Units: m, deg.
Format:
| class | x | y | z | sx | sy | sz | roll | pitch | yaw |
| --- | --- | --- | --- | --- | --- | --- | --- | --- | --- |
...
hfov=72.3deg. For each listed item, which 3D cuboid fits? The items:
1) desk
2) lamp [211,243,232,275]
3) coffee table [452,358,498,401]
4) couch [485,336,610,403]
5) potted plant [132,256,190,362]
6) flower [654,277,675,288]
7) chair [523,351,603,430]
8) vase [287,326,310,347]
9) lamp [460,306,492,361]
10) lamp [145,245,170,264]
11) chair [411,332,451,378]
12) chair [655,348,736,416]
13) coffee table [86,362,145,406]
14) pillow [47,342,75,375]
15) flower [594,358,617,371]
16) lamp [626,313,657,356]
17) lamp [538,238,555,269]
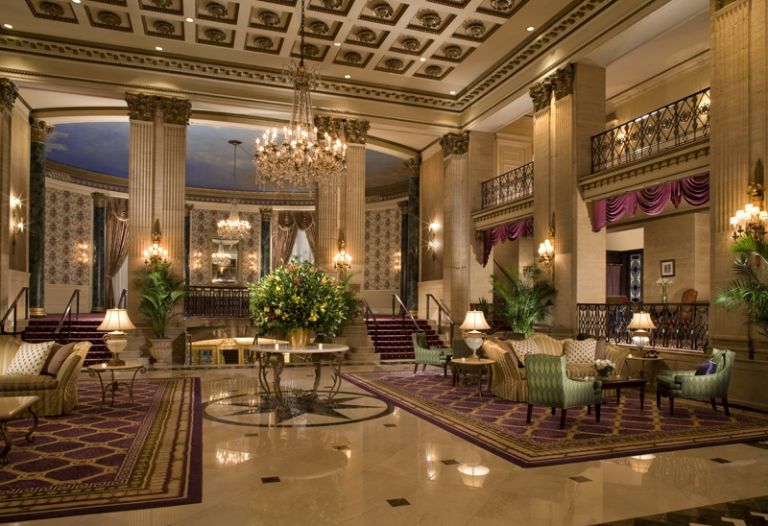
| class | x | y | z | sx | sy | sz | roll | pitch | yaw |
| --- | --- | --- | --- | --- | --- | --- | --- | --- | --- |
| desk | -1.639 | 1.984 | 10.080 | 1.578 | 1.245 | 3.511 | 0 | 1 | -7 |
| lamp | -7.036 | -0.162 | 22.912 | 0.927 | 1.411 | 2.971 | 0 | 1 | -18 |
| coffee table | 1.739 | 2.281 | 10.336 | 0.840 | 0.542 | 0.844 | 2 | -7 | -13 |
| couch | 3.237 | 2.028 | 10.216 | 2.353 | 1.167 | 1.105 | 1 | -5 | -12 |
| potted plant | -5.822 | 1.249 | 13.756 | 1.277 | 2.722 | 0.844 | 0 | 1 | -11 |
| flower | 7.831 | 0.516 | 14.590 | 0.499 | 0.346 | 0.506 | 1 | -6 | 8 |
| chair | 2.859 | 1.983 | 8.447 | 0.919 | 1.091 | 0.815 | 2 | -7 | -35 |
| vase | -1.438 | 1.240 | 8.924 | 0.331 | 0.256 | 0.336 | -3 | -7 | 12 |
| lamp | 1.769 | 1.385 | 10.245 | 0.658 | 0.951 | 0.669 | 4 | -9 | -13 |
| lamp | -6.071 | -0.189 | 14.053 | 0.513 | 0.613 | 0.539 | 1 | -1 | -7 |
| chair | 1.228 | 2.210 | 12.755 | 0.979 | 1.043 | 0.825 | -2 | -5 | 16 |
| chair | 5.391 | 2.062 | 9.267 | 1.234 | 1.293 | 0.972 | 2 | -7 | 5 |
| coffee table | -5.153 | 2.336 | 10.090 | 0.830 | 0.516 | 0.817 | 0 | 0 | -36 |
| pillow | -5.393 | 1.591 | 8.685 | 0.434 | 0.444 | 0.179 | 1 | -28 | 42 |
| flower | 3.772 | 1.706 | 8.946 | 0.388 | 0.228 | 0.320 | 0 | -5 | -27 |
| lamp | 5.160 | 1.403 | 10.557 | 0.557 | 0.871 | 0.583 | -1 | -10 | 31 |
| lamp | 4.117 | -0.241 | 13.390 | 0.229 | 0.765 | 0.449 | 0 | 1 | -18 |
